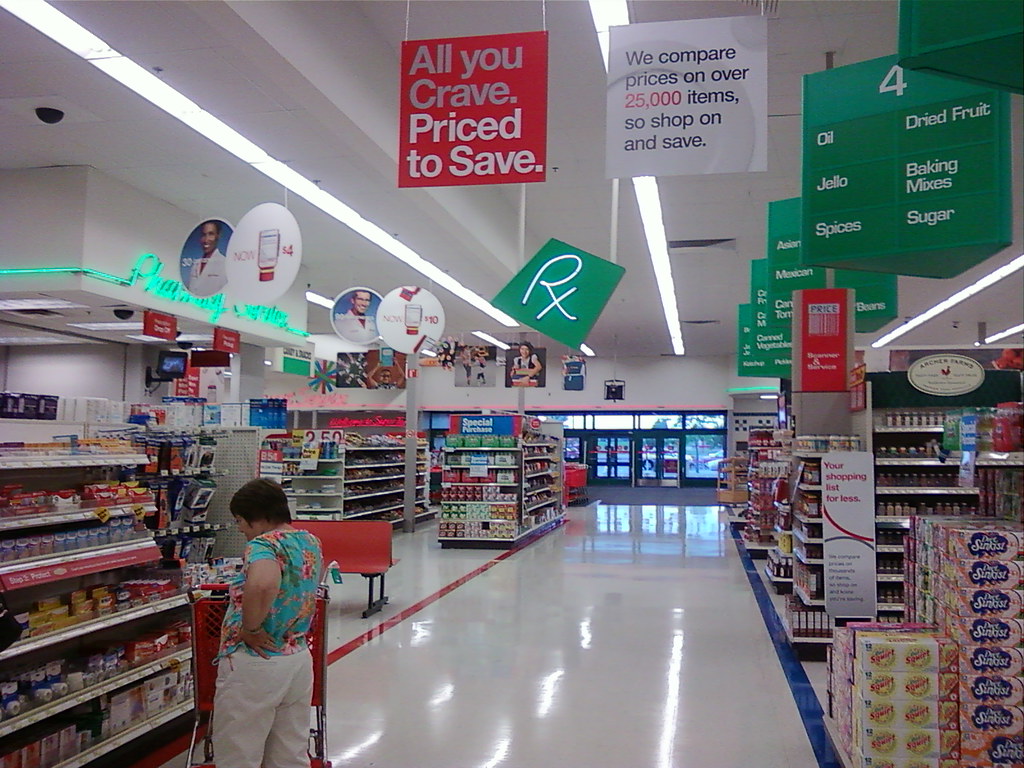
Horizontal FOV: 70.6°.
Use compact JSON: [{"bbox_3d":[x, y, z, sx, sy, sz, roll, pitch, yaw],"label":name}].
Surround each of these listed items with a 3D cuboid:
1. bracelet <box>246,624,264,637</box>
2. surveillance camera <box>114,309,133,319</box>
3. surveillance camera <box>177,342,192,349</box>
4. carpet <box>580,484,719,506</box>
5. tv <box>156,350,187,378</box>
[{"bbox_3d":[-1.196,1.161,3.391,0.067,0.052,0.049,2,-3,-20],"label":"bracelet"},{"bbox_3d":[-5.241,-0.949,9.797,0.172,0.113,0.157,0,-2,-8],"label":"surveillance camera"},{"bbox_3d":[-5.617,-0.667,12.468,0.156,0.049,0.181,-1,-2,11],"label":"surveillance camera"},{"bbox_3d":[4.540,3.593,23.597,3.641,0.525,0.619,4,17,26],"label":"carpet"},{"bbox_3d":[-5.663,-0.322,12.097,0.380,0.427,0.228,-1,-25,-15],"label":"tv"}]
